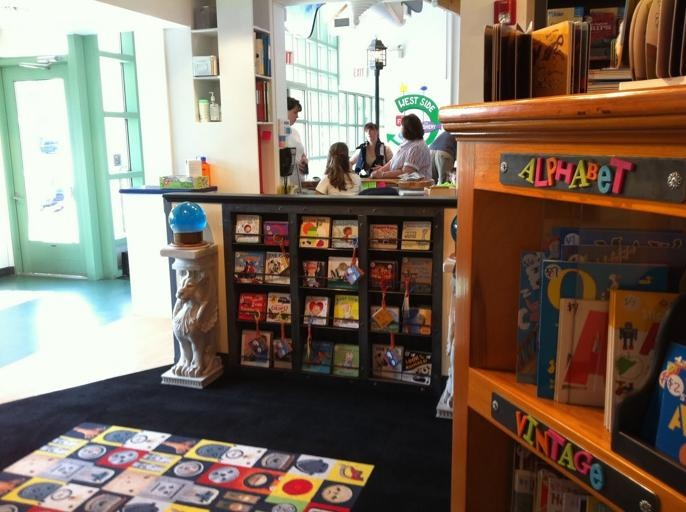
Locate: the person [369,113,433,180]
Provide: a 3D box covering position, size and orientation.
[{"bbox_3d":[0.671,-1.149,5.996,0.710,0.925,0.580,-4,10,-24],"label":"person"}]

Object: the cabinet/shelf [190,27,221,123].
[{"bbox_3d":[-1.361,-1.844,5.529,0.398,0.844,0.259,2,7,13],"label":"cabinet/shelf"}]

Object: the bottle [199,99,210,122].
[{"bbox_3d":[-1.452,-1.507,5.478,0.115,0.220,0.074,-3,11,-5],"label":"bottle"}]

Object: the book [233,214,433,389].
[{"bbox_3d":[-0.016,0.285,3.449,1.063,0.865,0.169,2,9,17],"label":"book"}]

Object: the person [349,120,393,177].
[{"bbox_3d":[0.369,-1.432,7.333,0.604,0.832,0.525,1,15,1],"label":"person"}]

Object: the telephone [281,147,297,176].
[{"bbox_3d":[-0.608,-1.047,5.800,0.109,0.304,0.345,1,7,8],"label":"telephone"}]
